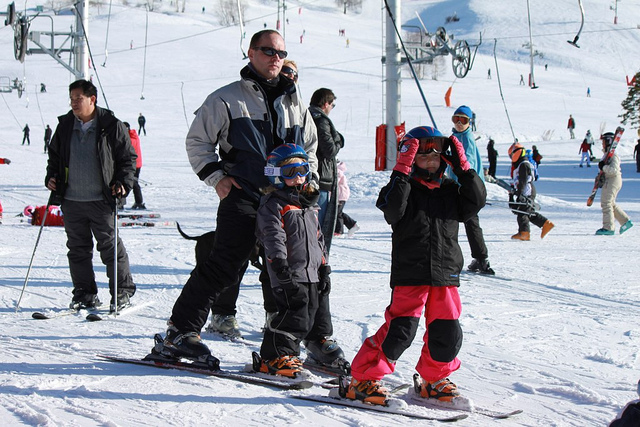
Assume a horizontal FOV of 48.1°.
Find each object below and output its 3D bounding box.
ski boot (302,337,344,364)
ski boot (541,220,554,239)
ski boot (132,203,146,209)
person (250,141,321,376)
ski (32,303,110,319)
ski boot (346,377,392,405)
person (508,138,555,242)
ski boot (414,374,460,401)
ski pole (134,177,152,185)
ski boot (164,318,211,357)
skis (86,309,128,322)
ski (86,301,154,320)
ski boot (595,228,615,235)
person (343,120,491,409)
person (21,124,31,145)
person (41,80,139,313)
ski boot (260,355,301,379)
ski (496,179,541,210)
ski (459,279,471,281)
[{"bbox_3d":[0.009,1.268,6.793,0.216,0.273,0.603,0,-2,-36],"label":"ski boot"},{"bbox_3d":[3.860,0.287,12.356,0.166,0.340,0.346,6,13,17],"label":"ski boot"},{"bbox_3d":[-3.760,-0.143,14.872,0.264,0.095,0.095,5,12,22],"label":"ski boot"},{"bbox_3d":[-0.290,0.412,6.367,0.589,2.008,0.580,3,13,3],"label":"person"},{"bbox_3d":[-2.662,1.042,7.795,0.149,0.072,0.859,13,16,42],"label":"ski"},{"bbox_3d":[0.406,1.492,6.128,0.438,0.252,0.147,8,-5,32],"label":"ski boot"},{"bbox_3d":[3.670,-0.360,12.752,0.765,1.684,1.337,5,13,10],"label":"person"},{"bbox_3d":[1.006,1.520,6.220,0.179,0.210,0.516,8,-10,-34],"label":"ski boot"},{"bbox_3d":[-4.738,-0.870,19.620,0.461,0.060,0.061,24,-4,16],"label":"ski pole"},{"bbox_3d":[-1.181,1.138,6.535,0.502,0.330,0.205,8,-4,21],"label":"ski boot"},{"bbox_3d":[-2.282,1.106,7.686,0.130,0.057,0.423,19,10,26],"label":"skis"},{"bbox_3d":[-2.183,1.035,7.851,0.146,0.083,1.035,4,6,19],"label":"ski"},{"bbox_3d":[5.335,0.362,13.597,0.367,0.145,0.130,4,1,8],"label":"ski boot"},{"bbox_3d":[0.825,0.450,6.139,0.988,2.317,0.817,5,13,12],"label":"person"},{"bbox_3d":[-13.914,-3.694,33.969,0.415,1.011,1.662,-3,13,-22],"label":"person"},{"bbox_3d":[-2.507,-0.181,7.845,0.955,2.457,0.665,0,13,-9],"label":"person"},{"bbox_3d":[-0.357,1.350,6.317,0.396,0.163,0.137,3,-1,14],"label":"ski boot"},{"bbox_3d":[3.755,-0.335,13.915,1.106,0.157,0.251,34,-26,21],"label":"ski"},{"bbox_3d":[1.921,0.891,9.558,0.115,0.003,0.073,-1,12,-13],"label":"ski"}]
